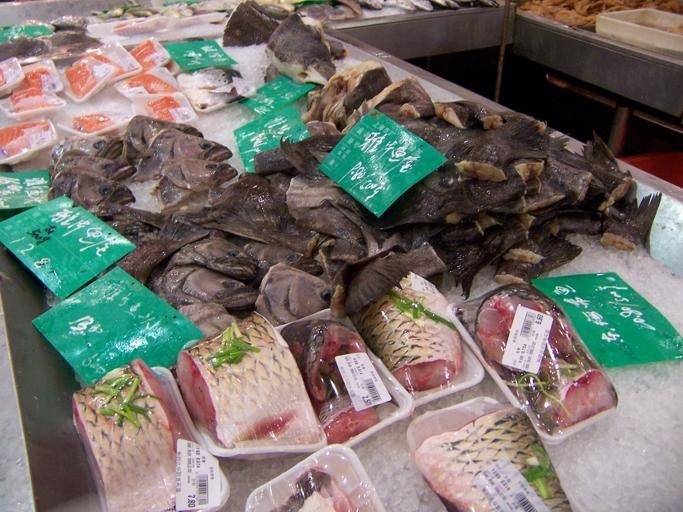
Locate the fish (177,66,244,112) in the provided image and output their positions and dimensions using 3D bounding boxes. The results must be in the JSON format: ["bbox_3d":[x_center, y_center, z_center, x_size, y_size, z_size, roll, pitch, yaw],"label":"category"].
[{"bbox_3d":[-0.711,-0.895,2.564,0.352,0.081,0.340,-21,49,-15],"label":"fish"}]
